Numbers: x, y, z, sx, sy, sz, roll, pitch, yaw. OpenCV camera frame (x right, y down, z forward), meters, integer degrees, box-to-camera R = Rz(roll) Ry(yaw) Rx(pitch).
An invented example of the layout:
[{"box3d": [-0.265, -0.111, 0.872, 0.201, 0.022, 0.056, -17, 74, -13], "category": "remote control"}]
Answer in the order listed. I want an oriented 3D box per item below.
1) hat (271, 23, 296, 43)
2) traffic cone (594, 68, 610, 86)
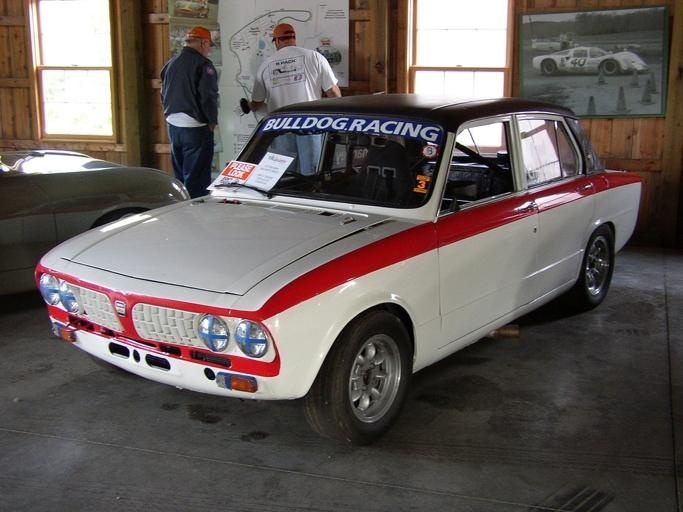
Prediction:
[{"box3d": [-0.789, -3.091, 7.061, 0.327, 0.201, 0.412, -6, 16, -12], "category": "hat"}, {"box3d": [3.645, -2.496, 7.137, 0.183, 0.207, 0.167, -3, 17, 20], "category": "traffic cone"}]
